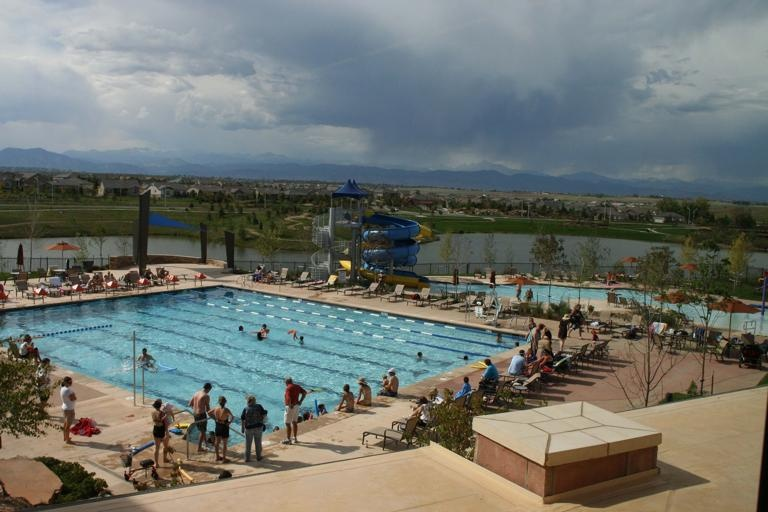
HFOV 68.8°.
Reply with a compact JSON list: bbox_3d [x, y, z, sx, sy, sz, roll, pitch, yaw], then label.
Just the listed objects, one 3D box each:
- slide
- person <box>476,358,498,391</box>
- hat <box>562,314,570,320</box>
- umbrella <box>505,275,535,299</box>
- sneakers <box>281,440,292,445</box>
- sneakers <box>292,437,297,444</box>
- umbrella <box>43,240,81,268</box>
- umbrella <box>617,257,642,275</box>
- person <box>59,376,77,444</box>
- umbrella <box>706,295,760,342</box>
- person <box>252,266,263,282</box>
[{"bbox_3d":[0.154,-0.182,35.610,3.980,3.799,6.077,1,4,-44],"label":"slide"},{"bbox_3d":[3.161,3.598,16.791,0.574,0.945,0.848,0,3,12],"label":"person"},{"bbox_3d":[7.742,2.572,23.738,0.421,0.134,0.394,0,4,-15],"label":"hat"},{"bbox_3d":[7.837,1.852,32.284,1.366,0.864,1.280,-2,12,1],"label":"umbrella"},{"bbox_3d":[-2.449,4.729,14.171,0.235,0.088,0.081,0,-5,13],"label":"sneakers"},{"bbox_3d":[-2.240,4.675,14.187,0.104,0.141,0.150,1,-2,-2],"label":"sneakers"},{"bbox_3d":[-23.585,-0.068,41.117,1.981,1.874,1.965,9,11,7],"label":"umbrella"},{"bbox_3d":[18.423,0.756,41.947,1.376,1.113,1.351,3,14,30],"label":"umbrella"},{"bbox_3d":[-7.912,3.855,14.077,0.294,1.527,0.722,-2,4,-30],"label":"person"},{"bbox_3d":[13.785,2.421,22.146,2.040,1.313,1.776,2,3,38],"label":"umbrella"},{"bbox_3d":[-7.524,1.102,34.309,0.402,0.920,0.708,13,-3,-38],"label":"person"}]
